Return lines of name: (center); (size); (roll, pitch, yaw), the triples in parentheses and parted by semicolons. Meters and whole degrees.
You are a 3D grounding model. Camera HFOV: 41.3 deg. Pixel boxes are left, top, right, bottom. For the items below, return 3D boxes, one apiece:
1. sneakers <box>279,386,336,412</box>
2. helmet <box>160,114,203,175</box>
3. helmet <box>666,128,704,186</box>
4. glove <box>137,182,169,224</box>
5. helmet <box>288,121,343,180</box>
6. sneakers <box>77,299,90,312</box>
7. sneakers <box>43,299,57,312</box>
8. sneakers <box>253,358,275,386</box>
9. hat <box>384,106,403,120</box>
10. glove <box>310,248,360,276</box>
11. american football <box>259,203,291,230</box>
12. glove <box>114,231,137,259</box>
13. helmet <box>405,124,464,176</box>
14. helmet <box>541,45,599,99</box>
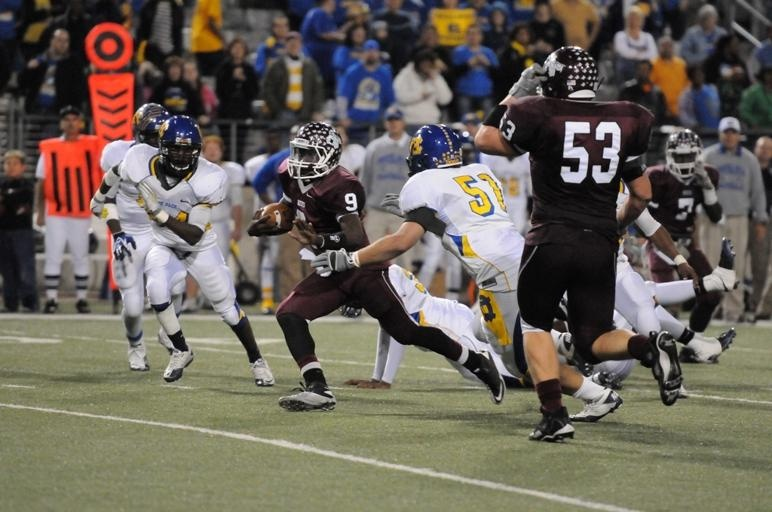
sneakers: (-0.567, 1.007, 7.251); (0.404, 0.157, 0.188); (4, 36, -8)
helmet: (-1.634, -0.862, 8.133); (0.330, 0.487, 0.293); (2, 1, -13)
helmet: (2.837, -0.952, 9.785); (0.304, 0.396, 0.392); (2, 1, 17)
glove: (-1.852, -0.440, 8.189); (0.094, 0.314, 0.124); (-34, -15, -10)
helmet: (-0.532, -0.774, 7.530); (0.349, 0.379, 0.465); (5, 6, 40)
sneakers: (-3.687, 0.605, 12.473); (0.148, 0.165, 0.099); (-2, -9, -35)
sneakers: (-4.048, 0.595, 12.411); (0.140, 0.185, 0.188); (0, 7, -16)
sneakers: (-0.980, 0.924, 8.233); (0.196, 0.213, 0.283); (2, 1, -12)
hat: (0.105, -1.828, 13.065); (0.213, 0.204, 0.260); (2, 1, -1)
glove: (-0.355, 0.041, 7.222); (0.278, 0.178, 0.127); (-21, -1, 17)
american football: (-0.856, -0.303, 7.740); (0.186, 0.158, 0.221); (-12, 12, -34)
glove: (-2.252, -0.088, 8.742); (0.190, 0.239, 0.084); (3, -23, -32)
helmet: (0.363, -0.829, 7.656); (0.323, 0.345, 0.410); (-8, 25, -18)
helmet: (1.195, -1.170, 6.659); (0.301, 0.309, 0.378); (-6, 44, -14)
